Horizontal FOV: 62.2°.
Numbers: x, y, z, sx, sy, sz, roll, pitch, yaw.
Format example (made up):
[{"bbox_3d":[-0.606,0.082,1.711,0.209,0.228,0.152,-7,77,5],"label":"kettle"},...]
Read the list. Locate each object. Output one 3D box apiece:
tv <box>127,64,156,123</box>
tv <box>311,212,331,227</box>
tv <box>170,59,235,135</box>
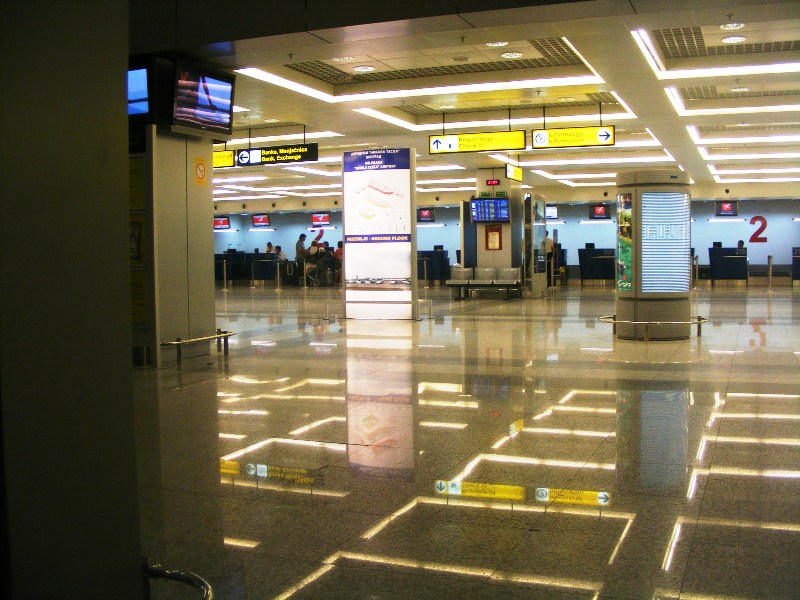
[{"bbox_3d":[-3.337,-2.644,8.487,0.383,0.629,0.070,1,2,32],"label":"tv"},{"bbox_3d":[-4.561,-4.707,38.688,0.902,0.608,0.145,1,0,13],"label":"tv"},{"bbox_3d":[-2.698,-2.751,8.960,0.121,0.724,1.045,8,8,27],"label":"tv"}]
